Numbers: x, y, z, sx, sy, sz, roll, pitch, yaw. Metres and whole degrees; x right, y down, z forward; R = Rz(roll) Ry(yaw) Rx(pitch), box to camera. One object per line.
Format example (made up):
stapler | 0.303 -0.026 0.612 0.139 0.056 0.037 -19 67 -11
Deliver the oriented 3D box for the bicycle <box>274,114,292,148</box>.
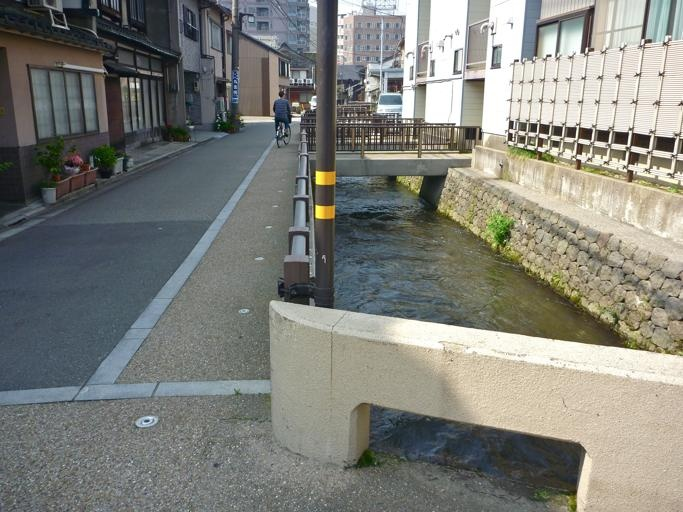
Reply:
bicycle | -2.381 -5.105 21.442 0.668 0.949 1.514 2 14 5

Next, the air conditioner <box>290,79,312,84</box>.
air conditioner | -4.985 -22.520 66.852 2.477 0.544 1.225 0 20 -2

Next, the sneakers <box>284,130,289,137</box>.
sneakers | -2.266 -5.263 22.053 0.250 0.267 0.468 -2 10 -14

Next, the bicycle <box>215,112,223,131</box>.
bicycle | -7.165 -7.954 30.621 0.415 0.801 2.708 -4 21 -12

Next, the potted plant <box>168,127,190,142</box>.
potted plant | -7.367 -5.579 23.611 0.992 0.632 0.436 8 21 20
